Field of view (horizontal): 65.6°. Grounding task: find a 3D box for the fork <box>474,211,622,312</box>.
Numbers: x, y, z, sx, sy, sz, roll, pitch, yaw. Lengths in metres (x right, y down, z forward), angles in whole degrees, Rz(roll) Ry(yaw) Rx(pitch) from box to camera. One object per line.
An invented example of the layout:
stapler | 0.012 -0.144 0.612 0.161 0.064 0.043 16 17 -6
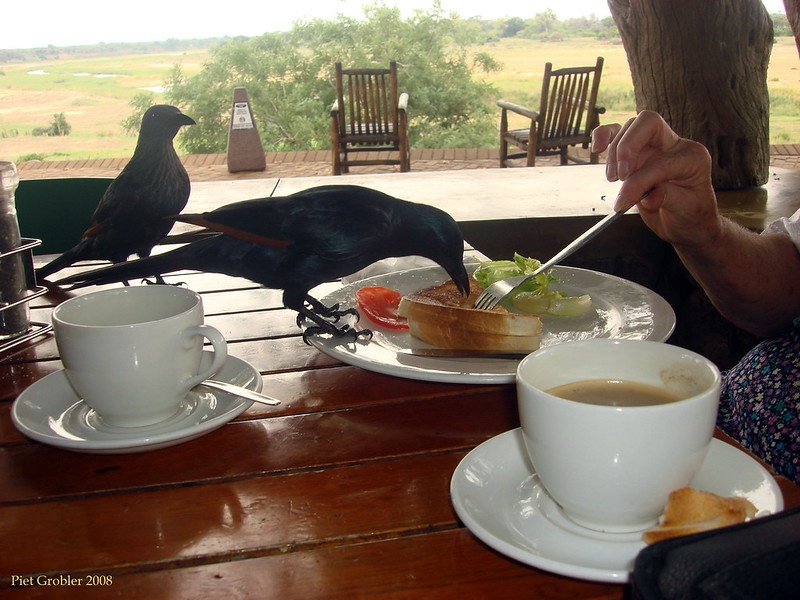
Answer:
fork | 0.471 -0.158 2.068 0.755 0.060 0.100 -33 31 -7

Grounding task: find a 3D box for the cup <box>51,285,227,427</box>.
cup | -0.391 0.083 0.954 0.260 0.131 0.173 5 21 -3

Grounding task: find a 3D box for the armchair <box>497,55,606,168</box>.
armchair | 1.810 -2.131 7.518 1.117 1.186 0.904 -10 21 -14

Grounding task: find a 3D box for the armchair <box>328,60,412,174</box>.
armchair | -0.349 -2.259 7.932 1.267 1.145 1.095 4 15 22

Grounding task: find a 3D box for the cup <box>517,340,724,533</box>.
cup | 0.241 0.149 0.769 0.280 0.157 0.237 -3 13 -3

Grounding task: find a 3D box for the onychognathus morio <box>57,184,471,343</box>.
onychognathus morio | -0.270 -0.086 1.213 0.812 0.224 0.191 2 0 -11
